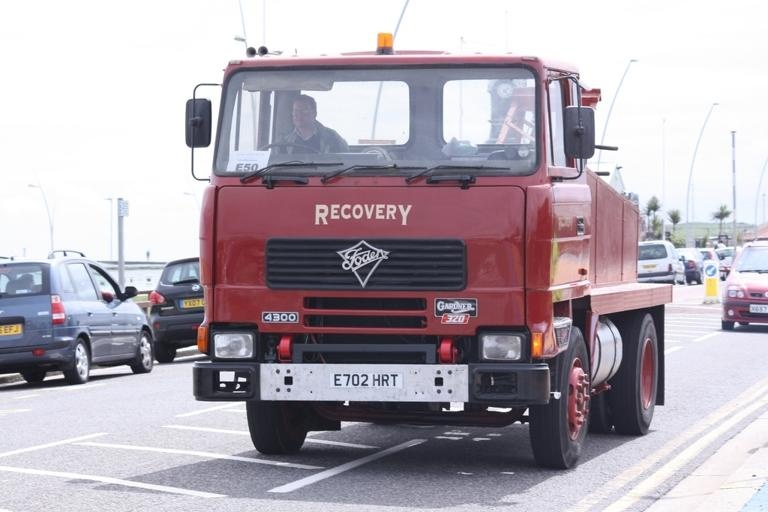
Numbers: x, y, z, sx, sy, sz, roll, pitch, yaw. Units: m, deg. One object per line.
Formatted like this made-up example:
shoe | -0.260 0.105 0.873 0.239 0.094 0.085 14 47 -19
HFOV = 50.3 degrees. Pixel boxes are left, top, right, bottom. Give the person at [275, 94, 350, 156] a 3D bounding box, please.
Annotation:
person | -0.745 -1.186 7.875 0.762 0.651 0.422 2 7 21

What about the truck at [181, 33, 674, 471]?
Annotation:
truck | 0.890 -0.021 9.580 3.159 3.144 5.309 -1 -3 19
